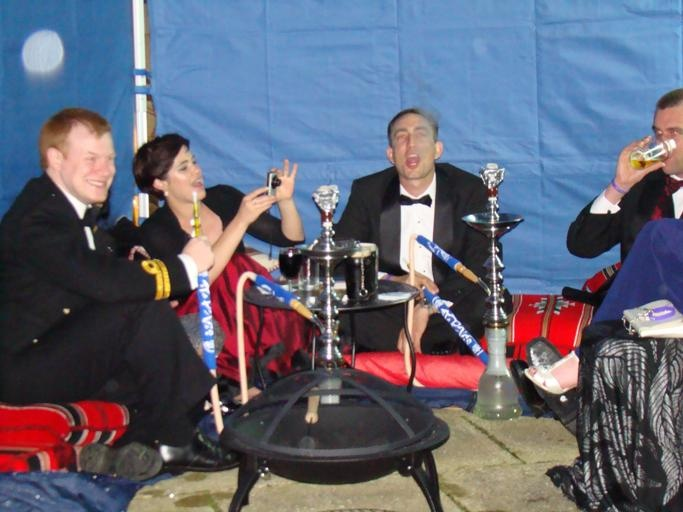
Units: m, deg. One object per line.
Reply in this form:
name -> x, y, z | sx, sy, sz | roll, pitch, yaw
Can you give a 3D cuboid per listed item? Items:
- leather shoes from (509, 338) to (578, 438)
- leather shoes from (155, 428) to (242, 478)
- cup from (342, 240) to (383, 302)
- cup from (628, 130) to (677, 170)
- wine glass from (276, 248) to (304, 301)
leather shoes -> 1.113, 0.680, 5.059 | 0.251, 0.636, 0.200 | -42, 35, -10
leather shoes -> -0.722, 1.008, 5.009 | 0.476, 0.272, 0.162 | -3, 10, -22
cup -> 0.089, 0.089, 4.962 | 0.153, 0.289, 0.296 | 0, 6, 10
cup -> 1.728, -0.551, 5.289 | 0.158, 0.152, 0.330 | -5, 7, -33
wine glass -> -0.263, 0.078, 5.067 | 0.128, 0.261, 0.387 | -2, 6, -3
